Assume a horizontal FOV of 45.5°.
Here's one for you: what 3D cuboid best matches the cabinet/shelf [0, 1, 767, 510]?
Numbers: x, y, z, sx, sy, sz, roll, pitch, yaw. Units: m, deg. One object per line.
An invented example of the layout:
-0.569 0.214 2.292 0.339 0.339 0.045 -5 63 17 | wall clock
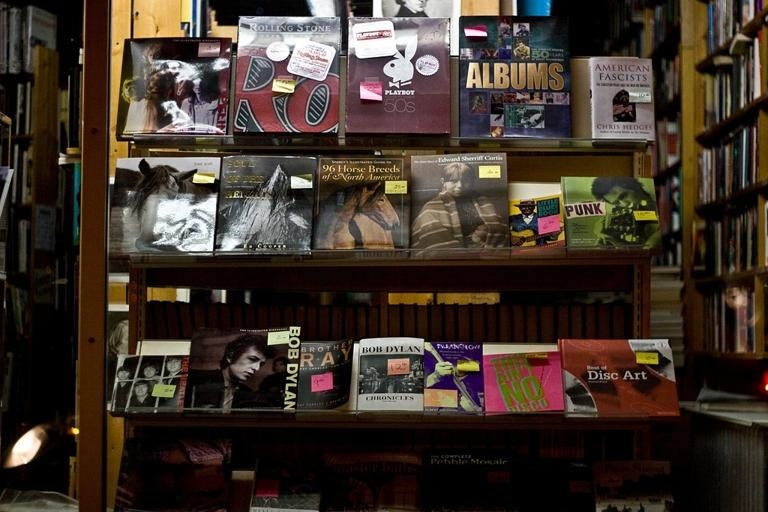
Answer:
0.007 0.061 5.327 3.449 3.255 1.106 0 -3 0 | cabinet/shelf
